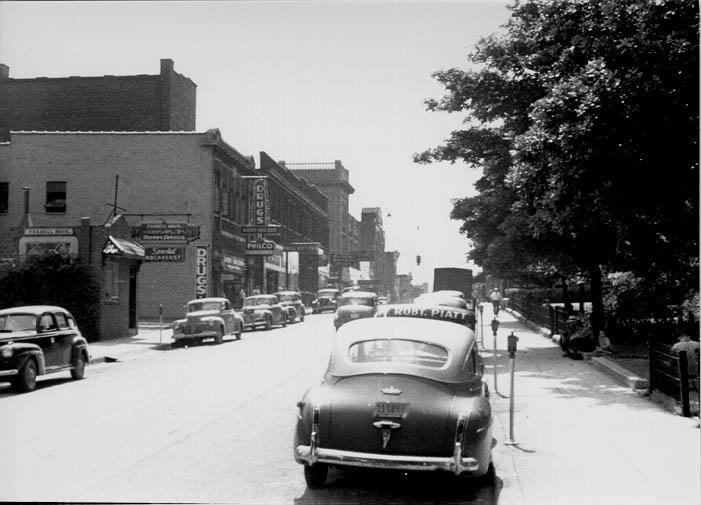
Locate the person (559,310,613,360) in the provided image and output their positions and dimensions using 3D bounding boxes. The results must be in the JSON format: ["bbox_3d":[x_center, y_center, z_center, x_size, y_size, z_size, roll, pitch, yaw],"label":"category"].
[{"bbox_3d":[7.672,2.700,23.690,1.221,0.845,1.851,-1,-3,11],"label":"person"}]

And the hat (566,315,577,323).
[{"bbox_3d":[7.702,2.301,25.601,0.247,0.145,0.362,-2,0,0],"label":"hat"}]

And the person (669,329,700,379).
[{"bbox_3d":[7.572,2.346,16.520,0.523,0.982,3.889,-2,-4,25],"label":"person"}]
